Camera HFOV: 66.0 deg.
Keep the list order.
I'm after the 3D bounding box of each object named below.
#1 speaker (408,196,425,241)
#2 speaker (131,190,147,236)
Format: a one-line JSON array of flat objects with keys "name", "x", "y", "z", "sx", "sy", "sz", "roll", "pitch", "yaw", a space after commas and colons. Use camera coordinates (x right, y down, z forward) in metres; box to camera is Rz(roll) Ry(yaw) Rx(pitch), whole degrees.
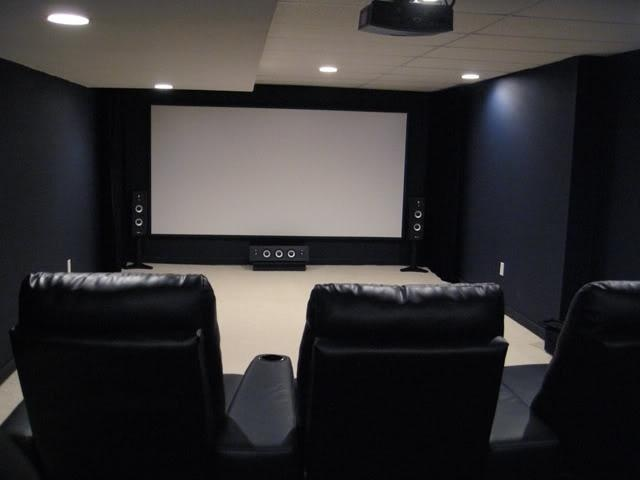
[{"name": "speaker", "x": 1.439, "y": -0.332, "z": 7.397, "sx": 0.234, "sy": 0.614, "sz": 0.186, "roll": 1, "pitch": 11, "yaw": 0}, {"name": "speaker", "x": -2.609, "y": -0.382, "z": 7.119, "sx": 0.203, "sy": 0.636, "sz": 0.125, "roll": -2, "pitch": 11, "yaw": -15}]
